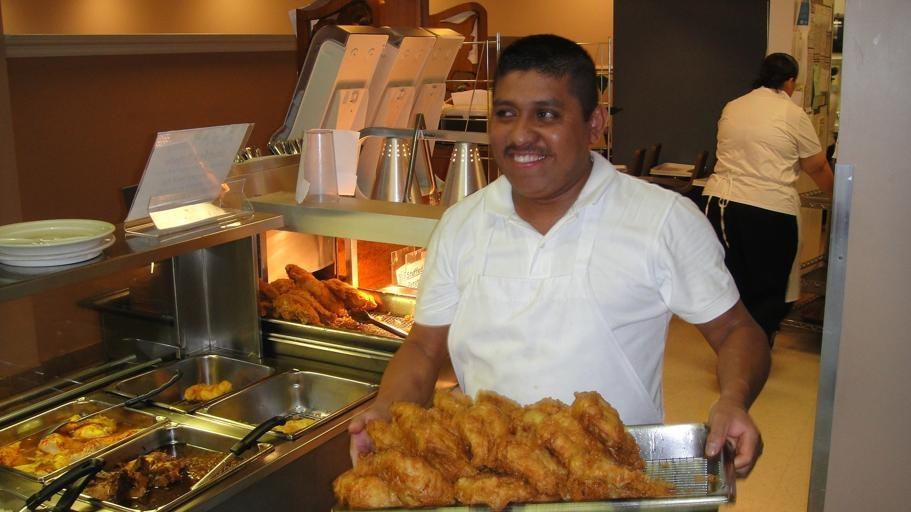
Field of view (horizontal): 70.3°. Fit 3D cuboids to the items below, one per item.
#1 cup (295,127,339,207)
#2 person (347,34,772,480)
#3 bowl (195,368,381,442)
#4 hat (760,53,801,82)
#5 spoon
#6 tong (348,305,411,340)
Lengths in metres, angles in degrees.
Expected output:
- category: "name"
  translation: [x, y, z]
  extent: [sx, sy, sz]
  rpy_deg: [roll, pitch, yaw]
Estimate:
- category: "cup"
  translation: [-0.693, -0.445, 3.174]
  extent: [0.204, 0.341, 0.101]
  rpy_deg: [-4, 16, -13]
- category: "person"
  translation: [0.409, -0.052, 2.215]
  extent: [1.302, 1.364, 0.708]
  rpy_deg: [8, 18, 25]
- category: "bowl"
  translation: [-0.832, 0.669, 2.971]
  extent: [0.352, 0.146, 0.431]
  rpy_deg: [7, 13, 27]
- category: "hat"
  translation: [2.477, -1.446, 4.989]
  extent: [0.217, 0.264, 0.277]
  rpy_deg: [0, 20, 8]
- category: "spoon"
  translation: [-1.548, 0.668, 2.852]
  extent: [0.675, 0.066, 0.092]
  rpy_deg: [-23, 61, -39]
- category: "tong"
  translation: [-0.398, 0.336, 3.300]
  extent: [0.284, 0.049, 0.060]
  rpy_deg: [24, 33, 35]
